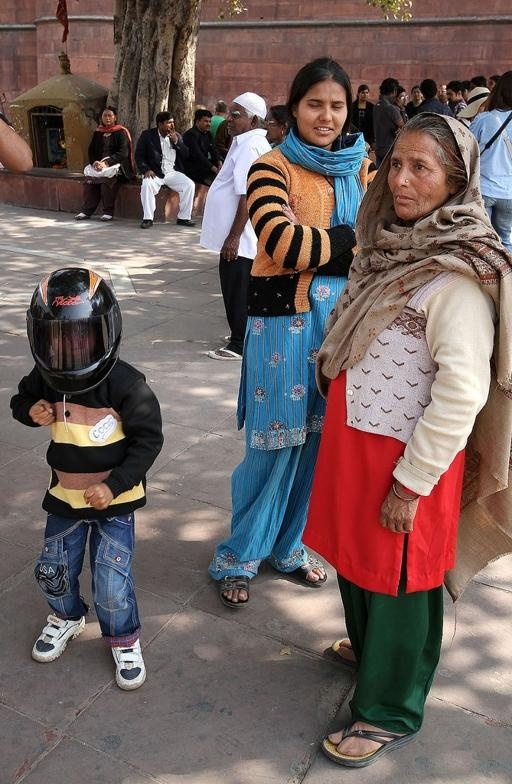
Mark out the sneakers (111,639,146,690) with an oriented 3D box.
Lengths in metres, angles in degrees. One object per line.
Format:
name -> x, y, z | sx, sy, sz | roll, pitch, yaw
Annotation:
sneakers -> -0.382, 0.816, 2.001 | 0.065, 0.065, 0.168 | -4, 6, -19

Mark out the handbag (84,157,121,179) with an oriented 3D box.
handbag -> -2.296, -3.294, 9.985 | 0.449, 0.227, 0.228 | 7, 16, 14

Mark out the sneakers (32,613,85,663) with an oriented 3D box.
sneakers -> -0.605, 0.750, 2.125 | 0.080, 0.085, 0.198 | 14, 25, 14

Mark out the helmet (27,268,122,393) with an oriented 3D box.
helmet -> -0.425, -0.179, 1.836 | 0.258, 0.271, 0.327 | -1, 45, -2

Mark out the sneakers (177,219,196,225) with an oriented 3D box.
sneakers -> -1.044, -2.524, 10.024 | 0.293, 0.108, 0.100 | 7, 37, 9

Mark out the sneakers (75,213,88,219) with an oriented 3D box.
sneakers -> -2.596, -2.604, 9.958 | 0.178, 0.112, 0.190 | 0, 15, -12

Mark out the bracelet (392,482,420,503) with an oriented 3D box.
bracelet -> 0.344, 0.232, 1.549 | 0.052, 0.013, 0.048 | 37, -11, -35

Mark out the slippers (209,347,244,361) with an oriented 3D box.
slippers -> -0.223, -0.268, 4.929 | 0.178, 0.059, 0.116 | 5, 0, -40

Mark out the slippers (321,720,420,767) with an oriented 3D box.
slippers -> 0.288, 0.907, 1.755 | 0.188, 0.046, 0.092 | -3, 11, -19

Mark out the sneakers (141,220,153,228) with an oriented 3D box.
sneakers -> -1.564, -2.397, 9.603 | 0.079, 0.087, 0.221 | -2, 7, 2
